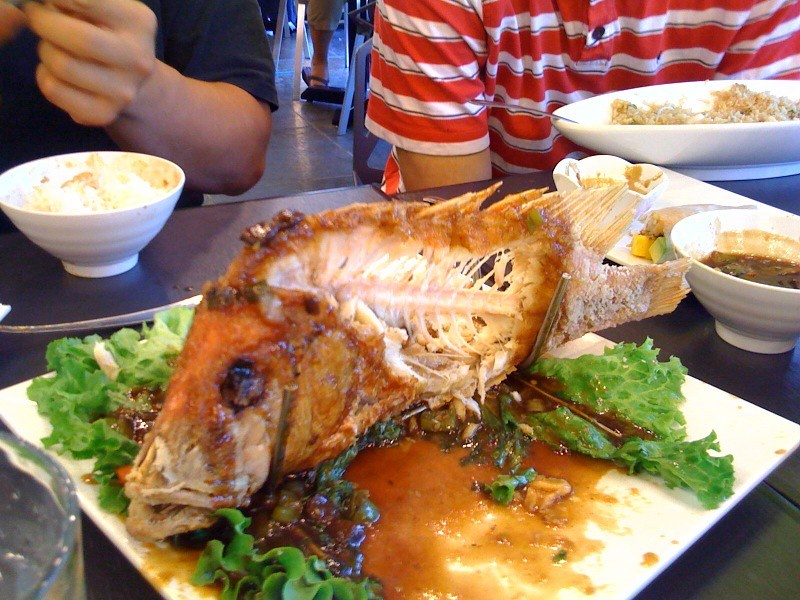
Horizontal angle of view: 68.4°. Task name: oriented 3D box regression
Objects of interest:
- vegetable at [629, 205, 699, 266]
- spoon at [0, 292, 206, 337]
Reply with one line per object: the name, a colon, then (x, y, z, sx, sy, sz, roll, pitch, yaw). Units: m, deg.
vegetable: (0.927, -0.267, 2.078, 0.171, 0.088, 0.232, 16, 45, 41)
spoon: (-0.881, 0.047, 1.715, 0.481, 0.045, 0.055, -8, 53, -11)
